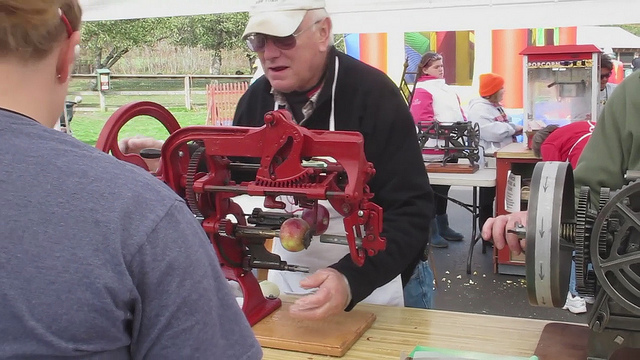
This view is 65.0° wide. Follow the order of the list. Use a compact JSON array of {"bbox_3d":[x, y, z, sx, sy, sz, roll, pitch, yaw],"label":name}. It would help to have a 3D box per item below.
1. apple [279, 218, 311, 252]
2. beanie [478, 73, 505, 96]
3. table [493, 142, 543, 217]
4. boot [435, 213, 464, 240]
[{"bbox_3d":[-0.099,0.218,1.997,0.127,0.129,0.096,-2,3,-7],"label":"apple"},{"bbox_3d":[2.629,-1.482,7.717,0.415,0.355,0.375,-1,27,21],"label":"beanie"},{"bbox_3d":[1.786,-0.015,4.575,0.477,0.733,0.800,2,9,24],"label":"table"},{"bbox_3d":[1.810,0.656,7.070,0.182,0.326,0.465,-14,10,-36],"label":"boot"}]
